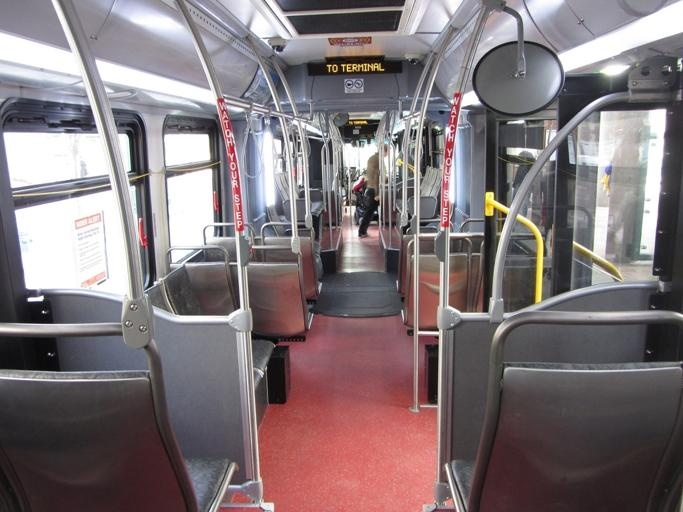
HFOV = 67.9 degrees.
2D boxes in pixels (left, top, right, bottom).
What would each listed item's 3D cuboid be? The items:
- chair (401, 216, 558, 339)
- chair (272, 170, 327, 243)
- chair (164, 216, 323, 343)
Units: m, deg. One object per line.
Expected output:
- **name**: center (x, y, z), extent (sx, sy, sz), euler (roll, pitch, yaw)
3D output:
- **chair**: center (1.319, -0.089, 5.729), extent (1.703, 1.301, 1.033), euler (0, 12, 4)
- **chair**: center (-0.823, -0.962, 9.835), extent (0.777, 1.473, 2.138), euler (-3, 12, 0)
- **chair**: center (-1.040, -0.162, 5.836), extent (1.842, 1.504, 1.341), euler (-1, 11, 0)
